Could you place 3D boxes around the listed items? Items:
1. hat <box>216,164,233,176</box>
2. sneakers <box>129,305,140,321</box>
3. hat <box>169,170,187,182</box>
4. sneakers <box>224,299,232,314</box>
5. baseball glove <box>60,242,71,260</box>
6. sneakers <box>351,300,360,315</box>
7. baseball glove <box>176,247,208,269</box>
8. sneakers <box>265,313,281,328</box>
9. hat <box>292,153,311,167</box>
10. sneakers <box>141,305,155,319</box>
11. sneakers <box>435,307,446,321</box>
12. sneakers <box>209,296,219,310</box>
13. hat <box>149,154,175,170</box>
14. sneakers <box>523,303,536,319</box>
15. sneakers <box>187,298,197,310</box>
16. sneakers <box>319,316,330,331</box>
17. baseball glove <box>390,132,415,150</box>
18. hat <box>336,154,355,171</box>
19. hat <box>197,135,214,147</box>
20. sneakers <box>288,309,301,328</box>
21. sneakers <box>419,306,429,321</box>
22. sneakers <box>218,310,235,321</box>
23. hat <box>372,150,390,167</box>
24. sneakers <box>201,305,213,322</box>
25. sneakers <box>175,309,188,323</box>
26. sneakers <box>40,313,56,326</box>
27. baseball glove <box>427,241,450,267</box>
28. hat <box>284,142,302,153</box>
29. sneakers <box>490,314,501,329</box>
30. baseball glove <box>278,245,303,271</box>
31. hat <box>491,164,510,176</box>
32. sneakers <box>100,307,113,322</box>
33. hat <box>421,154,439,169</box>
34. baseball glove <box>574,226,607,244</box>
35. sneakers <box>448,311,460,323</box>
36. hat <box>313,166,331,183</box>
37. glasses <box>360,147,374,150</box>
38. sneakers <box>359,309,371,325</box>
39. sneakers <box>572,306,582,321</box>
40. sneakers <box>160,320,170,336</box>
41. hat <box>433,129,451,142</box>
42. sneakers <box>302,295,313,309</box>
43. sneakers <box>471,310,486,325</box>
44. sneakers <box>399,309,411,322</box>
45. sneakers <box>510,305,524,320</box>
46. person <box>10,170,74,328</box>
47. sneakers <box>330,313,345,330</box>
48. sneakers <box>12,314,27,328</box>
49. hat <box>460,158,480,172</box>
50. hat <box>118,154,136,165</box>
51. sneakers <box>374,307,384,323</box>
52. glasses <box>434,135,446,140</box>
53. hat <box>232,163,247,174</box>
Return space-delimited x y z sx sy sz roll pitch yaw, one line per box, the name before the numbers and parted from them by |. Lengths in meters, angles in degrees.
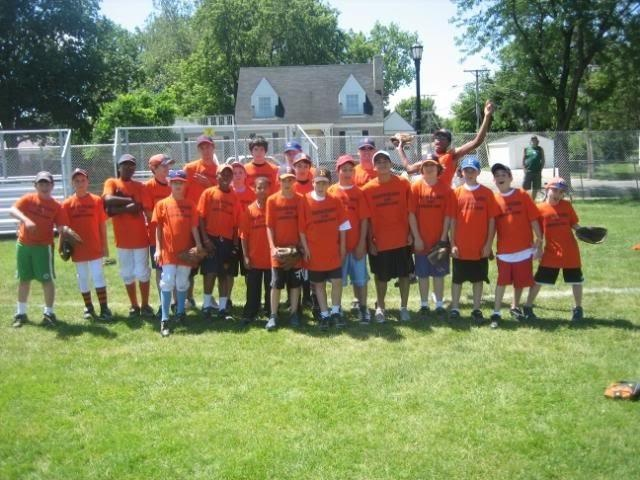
hat | -1.452 -1.053 10.117 0.195 0.164 0.323 5 -18 -15
sneakers | -2.844 1.134 10.346 0.156 0.196 0.430 0 -6 -13
hat | -2.092 -0.939 9.876 0.236 0.143 0.336 -2 5 -14
sneakers | -1.436 1.050 10.505 0.145 0.190 0.416 2 -11 -9
baseball glove | -3.758 0.157 9.992 0.182 0.323 0.218 -3 5 -22
sneakers | 0.553 1.056 10.454 0.186 0.229 0.526 1 -6 -3
baseball glove | -1.817 0.253 9.770 0.220 0.285 0.445 1 5 29
sneakers | -0.697 1.187 9.793 0.203 0.208 0.286 -2 5 -5
hat | -0.274 -1.223 10.265 0.269 0.220 0.404 -1 5 -2
sneakers | -2.645 1.104 10.390 0.196 0.156 0.290 -3 5 -20
sneakers | 1.767 1.091 9.888 0.148 0.169 0.134 -20 -22 39
sneakers | -1.672 1.008 10.631 0.122 0.130 0.410 -18 4 -13
hat | -2.400 -1.212 10.239 0.316 0.163 0.222 -18 18 -21
sneakers | 3.068 1.050 9.886 0.176 0.186 0.279 0 5 17
sneakers | -2.044 1.045 10.881 0.116 0.195 0.186 -3 -26 1
sneakers | 0.070 1.208 9.678 0.122 0.168 0.379 0 -10 3
baseball glove | 1.290 -1.622 11.050 0.346 0.279 0.594 -13 11 -24
hat | 0.384 -1.147 10.021 0.256 0.223 0.335 -1 5 4
hat | -1.776 -1.535 10.428 0.226 0.184 0.356 -2 5 -11
sneakers | -0.372 1.167 9.936 0.195 0.238 0.545 1 -4 -4
sneakers | 1.544 1.083 9.933 0.102 0.207 0.205 -3 -14 15
sneakers | -1.419 1.157 10.210 0.110 0.116 0.277 0 -4 -27
hat | 0.883 -1.190 9.816 0.283 0.216 0.335 0 5 12
sneakers | -1.703 1.096 10.189 0.141 0.222 0.231 -2 4 -5
sneakers | -2.049 1.136 9.961 0.135 0.173 0.166 -1 -11 -2
sneakers | -4.014 1.195 10.023 0.122 0.107 0.238 -2 4 -41
baseball glove | 1.703 0.195 9.632 0.256 0.345 0.144 23 -2 19
hat | -0.427 -1.530 11.017 0.246 0.205 0.515 -1 5 1
sneakers | 2.503 1.144 9.618 0.164 0.182 0.364 0 5 17
baseball glove | -0.420 0.256 9.542 0.319 0.307 0.259 18 -29 -27
hat | 2.613 -1.034 9.820 0.249 0.185 0.360 1 5 30
sneakers | -3.233 1.130 10.201 0.244 0.253 0.128 -1 -3 8
hat | 1.629 -1.160 9.881 0.304 0.197 0.388 0 5 11
baseball glove | 4.028 -0.068 10.080 0.414 0.242 0.306 1 5 22
sneakers | 1.944 1.127 9.793 0.125 0.143 0.353 -1 -6 15
hat | 0.044 -0.973 10.030 0.228 0.194 0.370 6 4 -6
glasses | 0.723 -1.419 10.360 0.211 0.048 0.116 -2 5 -6
sneakers | 0.649 1.138 9.872 0.158 0.204 0.460 -1 -6 5
sneakers | 3.698 1.062 9.689 0.136 0.196 0.250 0 5 20
sneakers | -2.208 1.252 9.601 0.134 0.208 0.319 -2 5 -13
hat | 1.936 -1.625 10.558 0.176 0.141 0.264 13 -10 27
sneakers | -0.198 1.007 10.782 0.161 0.157 0.234 -1 5 -2
sneakers | 2.299 1.106 9.817 0.189 0.183 0.284 -1 5 10
sneakers | 1.255 1.097 9.918 0.121 0.186 0.217 0 5 15
sneakers | 2.885 1.075 9.884 0.123 0.133 0.211 -2 -6 5
person | -4.184 0.123 10.024 0.810 2.255 0.658 -2 4 -7
sneakers | 0.261 1.167 9.742 0.104 0.138 0.292 2 -8 -20
sneakers | -4.439 1.189 9.993 0.206 0.159 0.335 -3 5 -24
hat | 2.219 -1.146 9.882 0.237 0.184 0.340 2 -2 25
hat | -2.957 -1.229 10.312 0.217 0.150 0.459 -3 5 -19
sneakers | 0.876 1.113 9.936 0.161 0.165 0.360 0 -5 4
glasses | 1.858 -1.598 10.443 0.105 0.030 0.113 3 -36 16
hat | -1.251 -1.095 10.343 0.118 0.176 0.374 2 5 33
